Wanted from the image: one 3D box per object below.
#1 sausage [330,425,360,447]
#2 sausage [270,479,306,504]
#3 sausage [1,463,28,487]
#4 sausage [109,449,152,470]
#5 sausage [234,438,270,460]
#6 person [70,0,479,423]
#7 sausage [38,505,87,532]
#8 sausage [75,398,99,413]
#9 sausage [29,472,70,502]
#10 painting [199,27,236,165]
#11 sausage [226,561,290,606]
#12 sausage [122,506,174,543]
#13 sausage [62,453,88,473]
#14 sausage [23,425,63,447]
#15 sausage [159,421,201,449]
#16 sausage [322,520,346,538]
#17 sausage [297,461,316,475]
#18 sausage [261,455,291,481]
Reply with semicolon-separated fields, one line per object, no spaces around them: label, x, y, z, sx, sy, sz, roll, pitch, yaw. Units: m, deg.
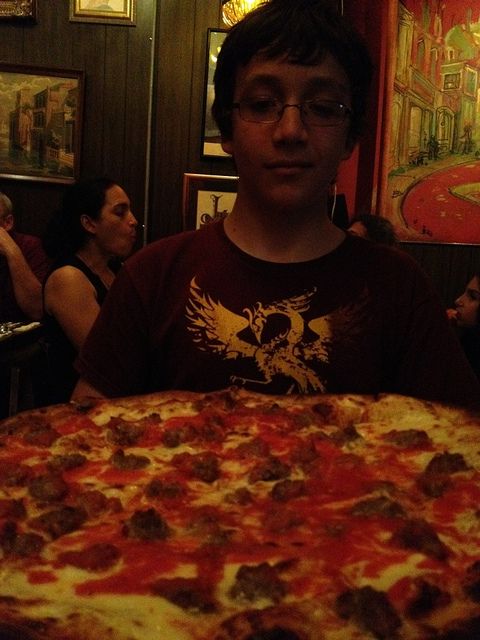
sausage;0.196;0.216;0.973;0.038;0.041;0.012;-30;-5;1
sausage;0.078;0.279;0.863;0.029;0.012;0.040;-1;10;37
sausage;-0.377;0.258;0.872;0.033;0.037;0.010;1;-27;-23
sausage;-0.202;0.255;0.945;0.043;0.018;0.040;0;24;-6
sausage;0.026;0.244;0.982;0.049;0.020;0.039;-6;23;-26
person;0.051;-0.204;0.998;0.757;0.769;0.316;-1;6;12
sausage;-0.259;0.295;0.786;0.038;0.010;0.040;8;12;-4
sausage;-0.287;0.159;0.972;0.027;0.008;0.027;13;52;21
sausage;-0.313;0.275;0.859;0.043;0.011;0.044;-9;41;-36
painting;-0.177;-1.469;3.403;0.221;0.877;0.263;-3;6;-4
sausage;0.023;0.313;0.622;0.071;0.017;0.058;0;8;16
sausage;-0.133;0.293;0.741;0.055;0.021;0.043;6;11;-35
sausage;-0.298;0.254;0.934;0.008;0.021;0.034;-42;-11;33
sausage;-0.352;0.205;0.921;0.039;0.041;0.010;-5;-25;-31
sausage;-0.113;0.216;1.002;0.071;0.047;0.034;-18;-11;-2
sausage;0.133;0.295;0.742;0.035;0.004;0.043;-5;8;-20
sausage;0.119;0.263;0.930;0.018;0.005;0.016;-25;34;-28
sausage;0.057;0.258;0.918;0.034;0.013;0.035;-8;25;-8
